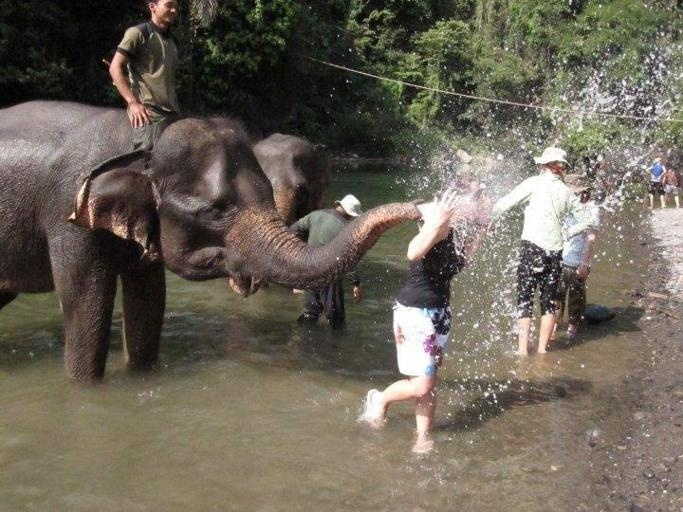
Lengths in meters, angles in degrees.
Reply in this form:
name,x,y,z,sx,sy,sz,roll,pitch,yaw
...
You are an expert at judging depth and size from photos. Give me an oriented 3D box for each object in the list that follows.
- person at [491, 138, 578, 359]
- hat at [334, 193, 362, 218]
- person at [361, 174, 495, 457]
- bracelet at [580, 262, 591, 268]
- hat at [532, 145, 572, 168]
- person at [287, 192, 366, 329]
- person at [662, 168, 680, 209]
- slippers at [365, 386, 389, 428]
name,x,y,z,sx,sy,sz,roll,pitch,yaw
person,1.835,-0.035,7.430,0.888,1.965,0.438,-5,11,-42
hat,0.089,-0.507,8.063,0.269,0.183,0.354,45,0,4
person,0.721,0.439,5.908,0.626,2.059,0.514,-1,9,-24
bracelet,2.479,0.085,8.064,0.124,0.036,0.095,3,-3,-7
hat,2.025,-0.972,7.455,0.251,0.126,0.311,7,-6,26
person,-0.141,-0.011,8.204,0.894,1.662,0.484,34,50,24
person,7.702,-1.607,18.445,0.390,0.889,1.484,6,9,23
slippers,0.268,1.201,6.337,0.118,0.145,0.325,27,16,-30
